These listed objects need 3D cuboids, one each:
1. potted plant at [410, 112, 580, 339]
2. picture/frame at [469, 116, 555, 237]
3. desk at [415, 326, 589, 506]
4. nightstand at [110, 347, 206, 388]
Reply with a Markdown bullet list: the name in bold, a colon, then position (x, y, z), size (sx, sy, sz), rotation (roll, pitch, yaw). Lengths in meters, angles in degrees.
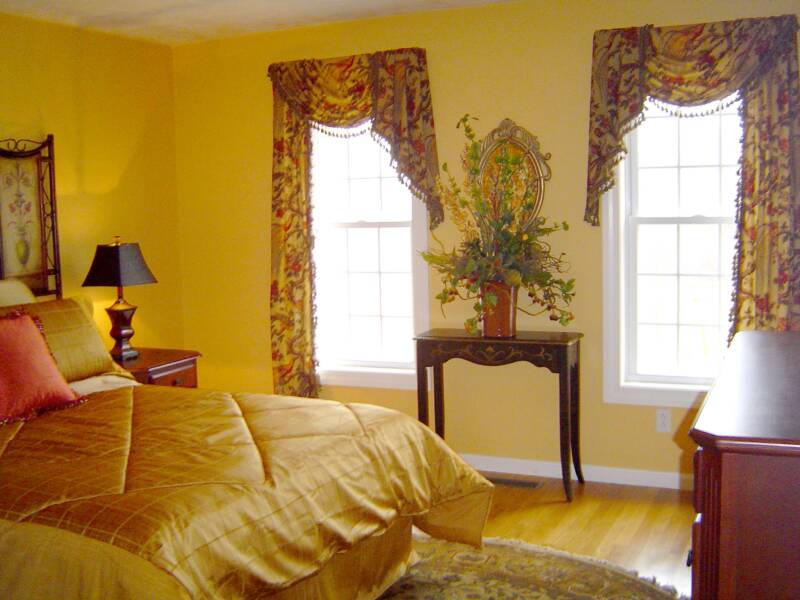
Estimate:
- **potted plant**: position (0.669, -0.533, 4.393), size (1.321, 1.710, 0.792), rotation (4, 6, 32)
- **picture/frame**: position (0.753, -0.791, 4.373), size (0.765, 1.024, 0.059), rotation (-2, -2, -8)
- **desk**: position (0.696, 0.724, 4.239), size (0.974, 0.954, 0.392), rotation (2, 6, 27)
- **nightstand**: position (-1.636, 0.376, 4.407), size (0.286, 0.323, 0.334), rotation (3, 7, 20)
